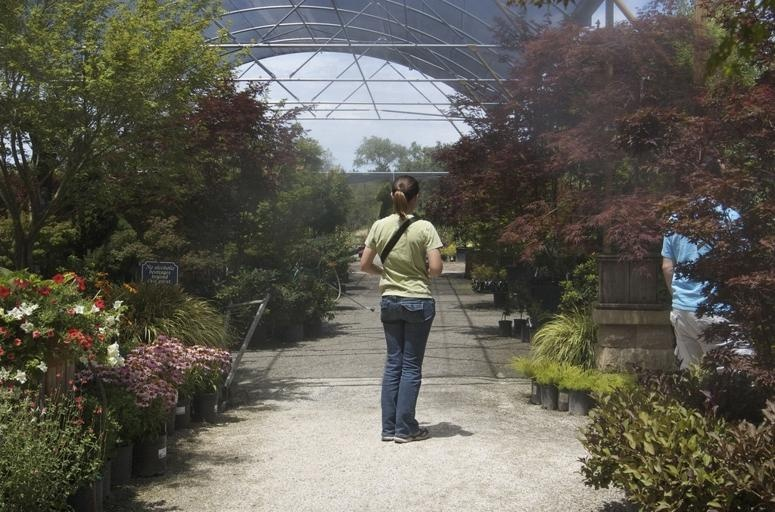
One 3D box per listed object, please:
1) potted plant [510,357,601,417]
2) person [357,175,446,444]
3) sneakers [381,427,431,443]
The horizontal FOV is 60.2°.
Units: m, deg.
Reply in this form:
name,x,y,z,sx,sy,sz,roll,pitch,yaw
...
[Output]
name,x,y,z,sx,sy,sz,roll,pitch,yaw
potted plant,1.891,1.451,7.420,0.432,0.491,1.007,4,-5,-27
person,0.129,0.475,6.404,0.774,2.546,0.474,2,-3,8
sneakers,0.176,1.693,6.392,0.439,0.193,0.159,0,-2,-18
